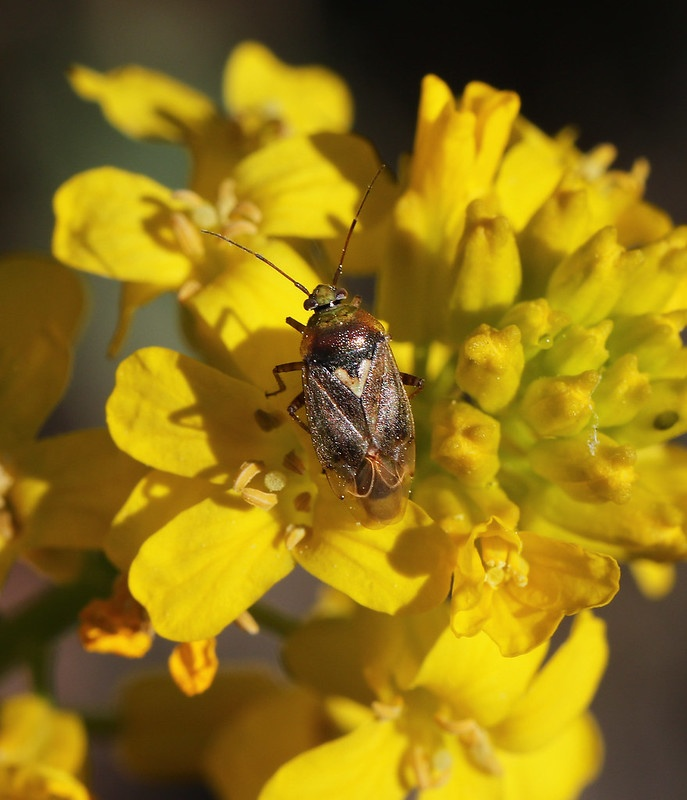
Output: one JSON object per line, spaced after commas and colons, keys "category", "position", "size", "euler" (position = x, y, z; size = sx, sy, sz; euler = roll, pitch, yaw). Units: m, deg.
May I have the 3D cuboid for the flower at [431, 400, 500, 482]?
{"category": "flower", "position": [0.256, 0.079, 1.951], "size": [0.081, 0.160, 0.169], "euler": [-26, 63, -19]}

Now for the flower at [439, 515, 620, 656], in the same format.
{"category": "flower", "position": [0.361, 0.366, 1.766], "size": [0.298, 0.212, 0.236], "euler": [14, 53, 5]}
